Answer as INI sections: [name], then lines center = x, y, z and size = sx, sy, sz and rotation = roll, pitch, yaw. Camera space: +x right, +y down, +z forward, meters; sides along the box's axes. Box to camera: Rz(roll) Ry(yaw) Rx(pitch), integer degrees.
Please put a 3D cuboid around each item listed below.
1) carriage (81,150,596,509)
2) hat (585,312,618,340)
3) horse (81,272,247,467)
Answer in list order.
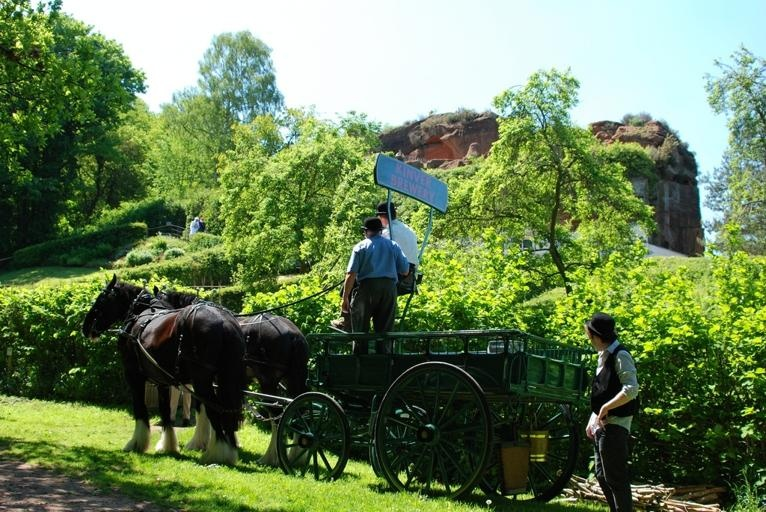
[carriage]
center = -1.458, 2.105, 15.236
size = 11.802, 6.925, 3.944
rotation = 2, -6, 36
[hat]
center = 3.285, 1.045, 10.377
size = 0.429, 0.373, 0.182
rotation = 37, -50, 14
[horse]
center = -4.004, 2.453, 14.488
size = 1.252, 3.436, 5.018
rotation = -7, -1, -39
